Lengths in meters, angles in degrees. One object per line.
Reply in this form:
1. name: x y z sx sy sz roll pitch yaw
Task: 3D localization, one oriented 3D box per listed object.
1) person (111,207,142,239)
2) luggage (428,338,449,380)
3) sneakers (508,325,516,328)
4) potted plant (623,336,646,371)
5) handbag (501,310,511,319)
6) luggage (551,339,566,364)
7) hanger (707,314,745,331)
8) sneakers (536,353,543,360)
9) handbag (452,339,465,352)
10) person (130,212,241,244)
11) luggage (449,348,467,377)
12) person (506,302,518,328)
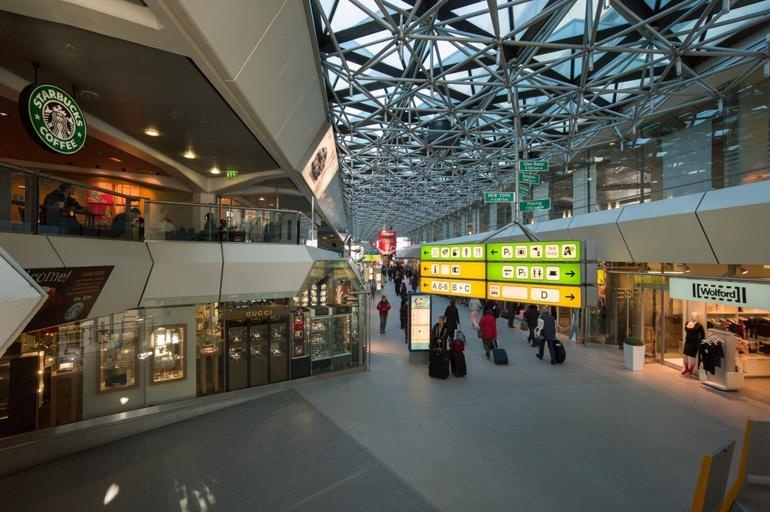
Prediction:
1. person: -7.350 -0.952 13.446 0.251 0.934 1.086 -4 -5 11
2. luggage: 2.076 3.875 18.144 0.796 1.487 0.752 -3 -5 1
3. sneakers: 7.006 3.828 25.860 0.427 0.271 0.142 -1 1 -4
4. potted plant: 9.996 3.898 18.856 0.737 1.215 0.543 -5 -5 23
5. handbag: 6.816 3.269 26.448 0.529 0.270 0.708 -1 -5 9
6. luggage: 7.206 3.892 19.333 0.605 0.984 0.344 2 -7 -44
7. hanger: 13.133 2.525 18.139 0.856 0.297 0.643 -1 3 -9
8. sneakers: 6.530 4.192 19.798 0.247 0.339 0.130 -14 -3 14
9. handbag: 2.832 3.456 18.159 0.560 0.452 0.392 4 -16 -13
10. person: -5.919 -0.910 14.809 2.693 0.865 0.214 1 -6 -33
11. luggage: 2.809 4.088 18.054 0.600 0.948 0.368 -3 -5 5
12. person: 6.984 3.199 25.888 0.458 1.358 1.004 -4 -5 11
